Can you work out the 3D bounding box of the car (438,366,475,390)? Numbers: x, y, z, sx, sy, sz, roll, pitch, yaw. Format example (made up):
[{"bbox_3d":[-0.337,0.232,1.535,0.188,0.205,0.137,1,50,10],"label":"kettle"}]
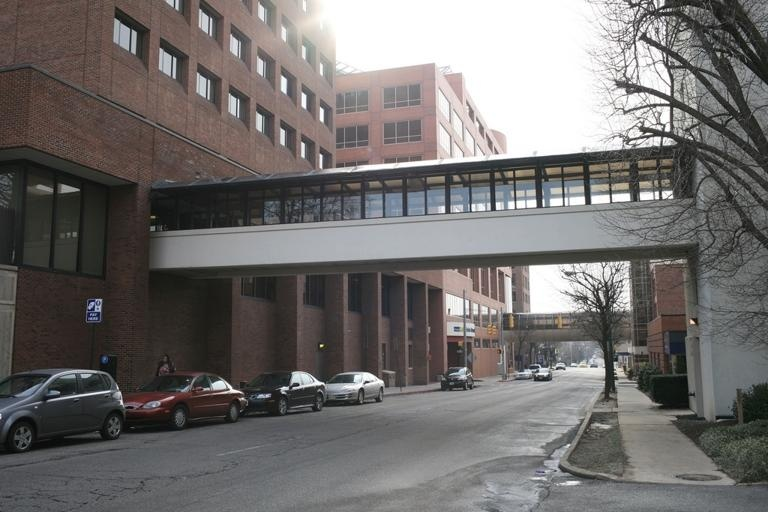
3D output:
[{"bbox_3d":[5.700,9.589,54.946,1.805,1.769,3.377,-6,-11,21],"label":"car"}]

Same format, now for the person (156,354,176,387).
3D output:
[{"bbox_3d":[-9.348,4.912,30.041,0.915,1.410,0.599,2,-12,-28],"label":"person"}]

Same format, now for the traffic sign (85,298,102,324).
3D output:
[{"bbox_3d":[-10.837,1.990,26.329,0.477,0.936,0.969,2,-11,-29],"label":"traffic sign"}]

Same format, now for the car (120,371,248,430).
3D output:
[{"bbox_3d":[-7.645,5.482,26.598,1.220,2.065,5.014,-9,-12,36],"label":"car"}]

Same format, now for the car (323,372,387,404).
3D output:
[{"bbox_3d":[-1.698,7.325,38.875,1.478,1.723,4.120,-8,-12,31],"label":"car"}]

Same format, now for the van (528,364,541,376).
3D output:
[{"bbox_3d":[17.001,12.777,79.227,1.223,1.303,2.644,-4,-16,12],"label":"van"}]

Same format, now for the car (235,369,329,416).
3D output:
[{"bbox_3d":[-4.612,6.279,32.068,1.506,1.936,4.219,-9,-12,35],"label":"car"}]
